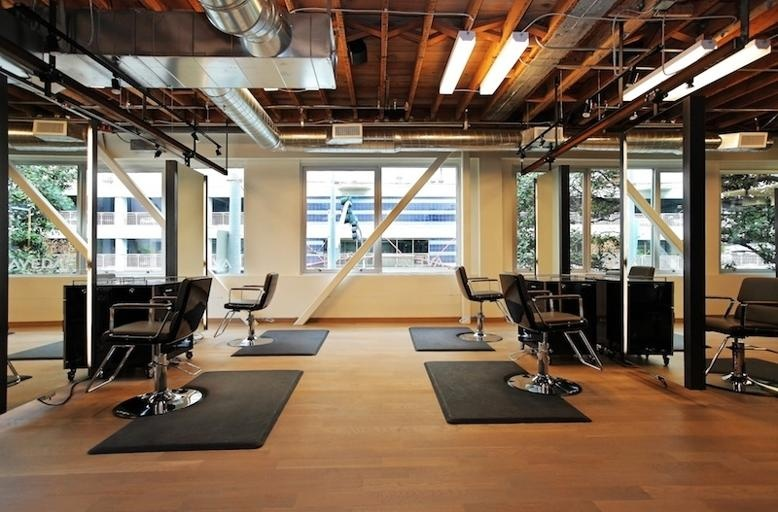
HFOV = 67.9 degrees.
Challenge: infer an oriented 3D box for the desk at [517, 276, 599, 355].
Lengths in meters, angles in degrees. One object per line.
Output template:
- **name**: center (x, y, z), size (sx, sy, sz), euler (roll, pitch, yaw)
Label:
- **desk**: center (2.790, 0.711, 8.851), size (1.457, 1.136, 2.014), euler (0, -2, 3)

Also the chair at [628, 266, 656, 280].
- **chair**: center (3.656, 0.235, 8.341), size (0.309, 0.236, 0.301), euler (-5, -26, 35)

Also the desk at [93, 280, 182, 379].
- **desk**: center (-3.666, 0.952, 7.708), size (1.155, 1.104, 0.969), euler (-6, -2, -33)

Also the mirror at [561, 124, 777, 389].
- **mirror**: center (4.216, -0.109, 7.579), size (1.956, 3.321, 2.103), euler (-5, 9, -23)

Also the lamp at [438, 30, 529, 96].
- **lamp**: center (1.300, -2.629, 7.752), size (1.137, 0.162, 1.215), euler (1, -4, -1)
